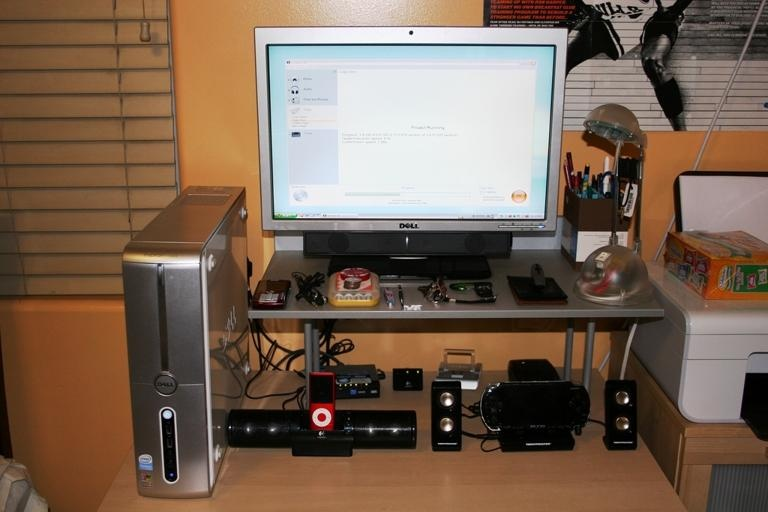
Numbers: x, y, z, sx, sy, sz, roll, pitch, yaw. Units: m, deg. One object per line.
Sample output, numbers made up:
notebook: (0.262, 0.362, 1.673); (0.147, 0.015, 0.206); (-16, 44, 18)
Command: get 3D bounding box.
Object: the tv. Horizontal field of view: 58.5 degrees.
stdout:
tv: (0.082, -0.341, 2.142); (0.818, 0.587, 0.239); (0, 14, 0)
